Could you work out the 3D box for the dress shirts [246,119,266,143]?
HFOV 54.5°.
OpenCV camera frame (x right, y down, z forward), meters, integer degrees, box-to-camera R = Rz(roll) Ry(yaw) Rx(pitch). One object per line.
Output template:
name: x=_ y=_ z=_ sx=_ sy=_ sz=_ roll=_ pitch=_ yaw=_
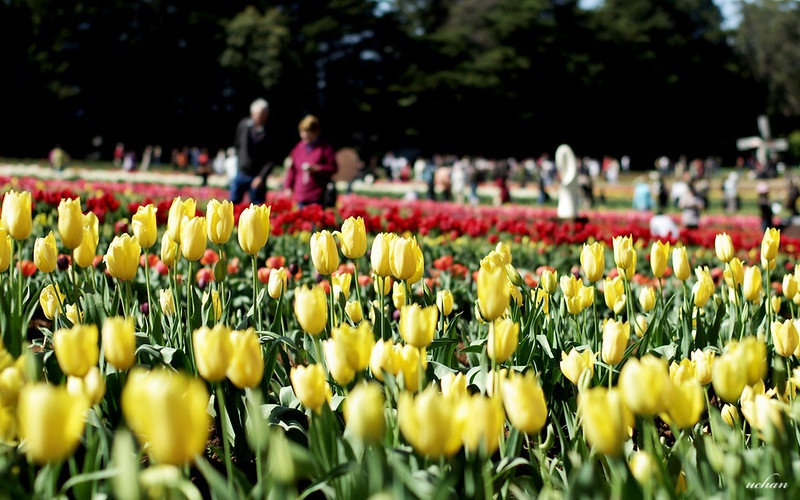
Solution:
dress shirts: x=-1.677 y=-1.398 z=9.155 sx=0.215 sy=0.241 sz=0.075 roll=-4 pitch=3 yaw=-31
